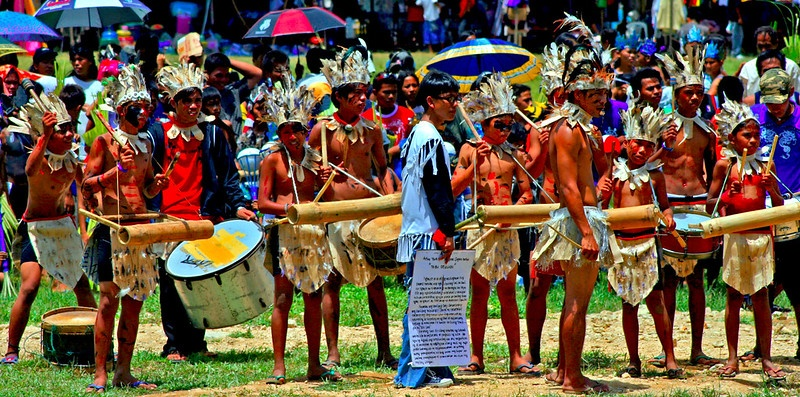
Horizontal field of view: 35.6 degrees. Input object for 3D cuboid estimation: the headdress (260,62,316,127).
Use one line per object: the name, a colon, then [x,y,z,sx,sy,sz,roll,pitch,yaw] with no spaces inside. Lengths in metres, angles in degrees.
headdress: [-1.605,-1.417,18.348,0.984,0.989,1.005,-2,0,8]

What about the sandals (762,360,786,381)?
sandals: [5.351,2.473,17.932,0.204,0.154,0.396,-14,12,-25]

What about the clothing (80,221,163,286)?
clothing: [-4.203,0.778,17.604,0.640,0.770,0.219,-17,6,-33]

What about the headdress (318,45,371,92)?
headdress: [-0.754,-1.948,18.609,0.854,0.576,0.819,-6,-1,-27]

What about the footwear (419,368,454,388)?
footwear: [0.513,2.541,17.614,0.544,0.264,0.187,-3,1,6]

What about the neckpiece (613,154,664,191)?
neckpiece: [3.403,-0.385,18.160,0.556,0.178,0.506,4,46,23]

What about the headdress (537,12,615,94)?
headdress: [2.470,-2.127,17.944,0.839,0.901,1.016,-3,-2,-9]

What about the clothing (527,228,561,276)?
clothing: [2.100,0.823,18.284,0.723,0.645,0.661,-2,3,5]

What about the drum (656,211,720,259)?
drum: [4.222,0.576,18.290,0.841,0.441,0.760,-1,28,0]

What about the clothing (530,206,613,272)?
clothing: [2.444,0.540,17.504,1.011,0.616,0.958,-4,2,19]

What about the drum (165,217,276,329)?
drum: [-2.621,1.182,18.830,1.716,1.123,1.712,-16,15,4]

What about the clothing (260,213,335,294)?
clothing: [-1.446,0.768,17.970,1.104,1.355,0.428,-11,-7,-23]

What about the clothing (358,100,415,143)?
clothing: [-0.244,-1.233,19.949,0.875,0.735,0.418,-5,38,-8]

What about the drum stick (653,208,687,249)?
drum stick: [3.861,0.441,17.961,0.146,0.718,0.100,-44,2,40]

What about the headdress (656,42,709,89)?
headdress: [4.352,-1.955,18.880,0.816,0.503,0.765,-4,-2,-5]

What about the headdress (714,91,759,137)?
headdress: [4.910,-1.238,18.331,0.352,0.523,0.608,34,33,18]

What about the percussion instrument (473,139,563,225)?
percussion instrument: [1.689,-0.231,18.035,1.075,0.909,1.383,-4,-2,11]

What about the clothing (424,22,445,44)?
clothing: [0.776,-3.912,29.247,0.598,0.610,0.380,-1,-3,-9]

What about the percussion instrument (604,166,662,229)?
percussion instrument: [3.305,0.084,17.735,0.385,0.705,0.967,9,-11,-33]

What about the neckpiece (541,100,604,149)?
neckpiece: [2.289,-1.153,17.627,1.044,0.438,0.875,21,-1,0]

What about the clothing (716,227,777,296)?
clothing: [4.893,0.904,18.352,1.079,1.153,0.827,-1,-5,-9]

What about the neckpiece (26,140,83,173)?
neckpiece: [-4.986,-0.594,18.292,0.455,0.140,0.461,30,39,30]

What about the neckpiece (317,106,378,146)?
neckpiece: [-0.763,-1.042,18.191,1.057,0.279,1.088,-2,-15,34]

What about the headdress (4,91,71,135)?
headdress: [-5.247,-1.250,18.132,0.708,0.285,0.697,-38,7,15]

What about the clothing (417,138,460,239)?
clothing: [0.490,-0.205,17.493,0.546,1.364,0.426,-3,-3,28]

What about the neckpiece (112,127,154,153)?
neckpiece: [-3.850,-0.842,17.874,0.428,0.135,0.391,-6,38,-29]

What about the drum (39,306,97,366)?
drum: [-5.026,2.220,18.855,0.831,0.582,0.823,-3,1,0]

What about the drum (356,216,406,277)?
drum: [-0.307,0.711,18.066,0.667,0.481,0.601,-26,34,0]

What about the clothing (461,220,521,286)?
clothing: [1.263,0.805,18.639,0.902,0.964,1.070,3,-10,15]

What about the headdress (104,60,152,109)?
headdress: [-4.057,-1.708,18.097,0.707,0.519,0.611,-5,3,5]

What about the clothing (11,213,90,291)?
clothing: [-5.138,0.792,18.704,1.041,1.151,0.360,-6,-1,-27]

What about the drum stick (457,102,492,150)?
drum stick: [1.096,-1.081,18.372,0.118,0.798,0.139,-19,20,48]
